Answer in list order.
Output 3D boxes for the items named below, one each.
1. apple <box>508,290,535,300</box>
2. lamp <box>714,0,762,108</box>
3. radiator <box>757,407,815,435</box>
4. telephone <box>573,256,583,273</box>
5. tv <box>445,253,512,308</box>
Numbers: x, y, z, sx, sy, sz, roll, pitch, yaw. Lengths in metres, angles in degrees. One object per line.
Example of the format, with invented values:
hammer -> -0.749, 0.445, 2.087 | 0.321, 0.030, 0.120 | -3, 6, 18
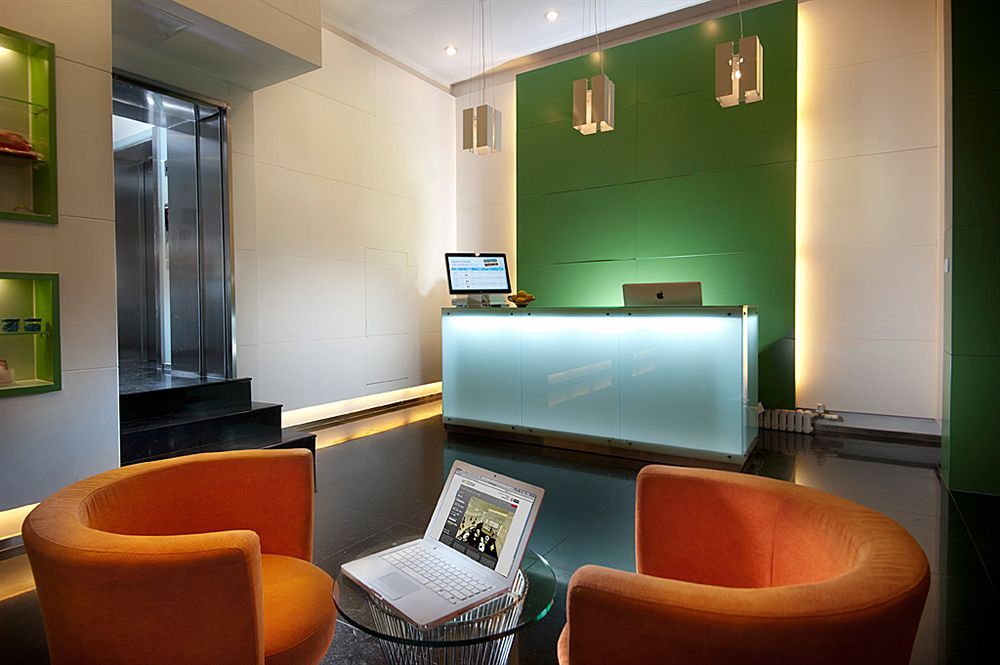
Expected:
apple -> 0.217, -0.369, 6.769 | 0.212, 0.105, 0.381 | 0, 11, 9
lamp -> 1.946, -2.142, 5.421 | 0.328, 0.516, 0.263 | 4, 12, 27
radiator -> 2.954, 0.907, 6.863 | 0.543, 0.244, 0.215 | 3, 12, 22
telephone -> 0.872, -0.771, 7.443 | 0.051, 0.161, 0.111 | -9, 11, -30
tv -> -0.243, -0.583, 7.574 | 0.668, 0.667, 1.632 | -1, 11, -1
